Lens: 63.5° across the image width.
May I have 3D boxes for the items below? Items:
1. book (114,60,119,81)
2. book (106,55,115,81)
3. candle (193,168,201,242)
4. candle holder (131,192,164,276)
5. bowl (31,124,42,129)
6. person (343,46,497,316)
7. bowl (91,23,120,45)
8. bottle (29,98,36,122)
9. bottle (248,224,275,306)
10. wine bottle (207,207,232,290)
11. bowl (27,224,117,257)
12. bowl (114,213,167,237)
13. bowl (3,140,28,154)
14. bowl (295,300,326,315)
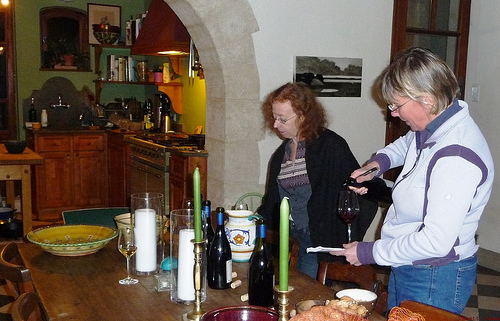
[{"bbox_3d":[-2.119,-1.445,6.441,0.063,0.310,0.027,-2,4,-12],"label":"book"},{"bbox_3d":[-2.225,-1.476,6.487,0.110,0.422,0.291,-3,4,-24],"label":"book"},{"bbox_3d":[-0.209,0.174,1.605,0.025,0.293,0.068,-2,4,-7],"label":"candle"},{"bbox_3d":[-0.503,0.345,2.042,0.176,0.402,0.172,-1,4,-41],"label":"candle holder"},{"bbox_3d":[-3.164,-0.509,6.008,0.109,0.067,0.096,-3,4,-30],"label":"bowl"},{"bbox_3d":[0.848,0.140,1.965,0.562,1.354,0.443,1,4,31],"label":"person"},{"bbox_3d":[-2.284,-2.003,6.457,0.604,0.297,0.608,1,12,0],"label":"bowl"},{"bbox_3d":[-3.347,-0.787,6.247,0.084,0.359,0.140,-2,4,-13],"label":"bottle"},{"bbox_3d":[0.048,0.499,1.821,0.118,0.296,0.079,-1,4,0],"label":"bottle"},{"bbox_3d":[-0.138,0.453,1.937,0.136,0.308,0.083,-3,4,-23],"label":"wine bottle"},{"bbox_3d":[-1.015,0.439,2.310,0.250,0.063,0.265,5,9,-1],"label":"bowl"},{"bbox_3d":[-0.669,0.337,2.243,0.197,0.077,0.200,1,-3,0],"label":"bowl"},{"bbox_3d":[-2.699,-0.153,4.665,0.212,0.147,0.270,-4,4,-31],"label":"bowl"},{"bbox_3d":[0.229,0.535,1.513,0.090,0.037,0.066,-1,3,-8],"label":"bowl"}]
